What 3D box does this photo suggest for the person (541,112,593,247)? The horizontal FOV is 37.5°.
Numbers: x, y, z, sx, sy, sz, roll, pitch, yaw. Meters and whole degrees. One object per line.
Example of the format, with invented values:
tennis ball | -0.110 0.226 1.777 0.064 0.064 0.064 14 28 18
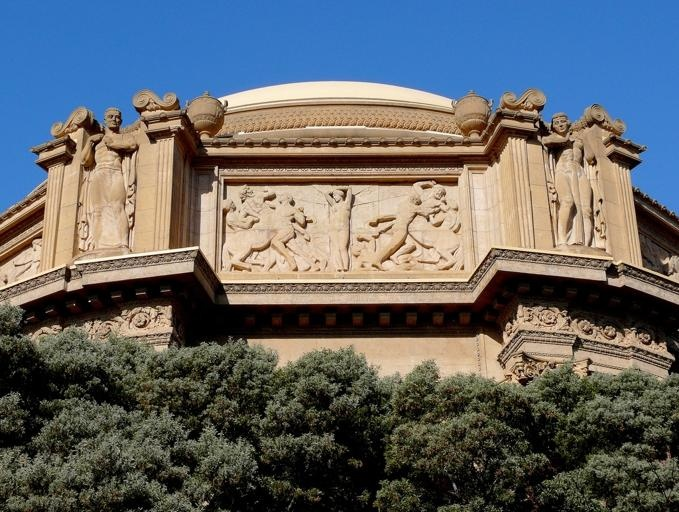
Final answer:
person | 6.689 -2.155 29.239 1.518 4.265 0.819 21 -37 -25
